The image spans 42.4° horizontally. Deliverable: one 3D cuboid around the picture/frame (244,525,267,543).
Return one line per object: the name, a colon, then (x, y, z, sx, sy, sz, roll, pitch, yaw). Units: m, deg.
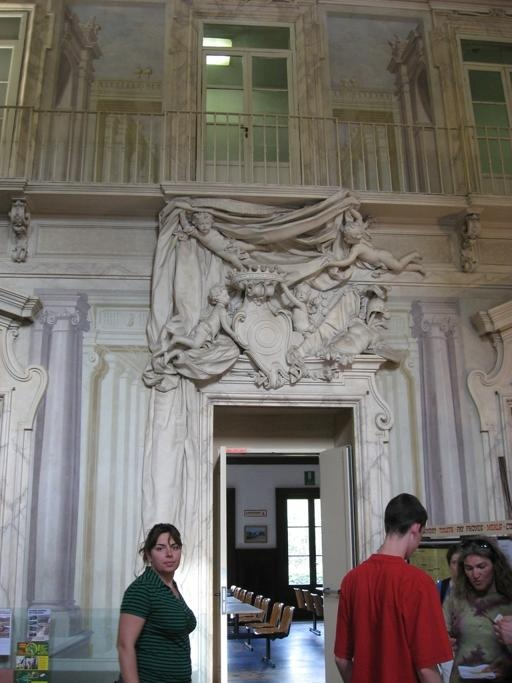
picture/frame: (-0.024, 3.780, 12.931, 0.418, 0.335, 0.040, -2, -44, -2)
